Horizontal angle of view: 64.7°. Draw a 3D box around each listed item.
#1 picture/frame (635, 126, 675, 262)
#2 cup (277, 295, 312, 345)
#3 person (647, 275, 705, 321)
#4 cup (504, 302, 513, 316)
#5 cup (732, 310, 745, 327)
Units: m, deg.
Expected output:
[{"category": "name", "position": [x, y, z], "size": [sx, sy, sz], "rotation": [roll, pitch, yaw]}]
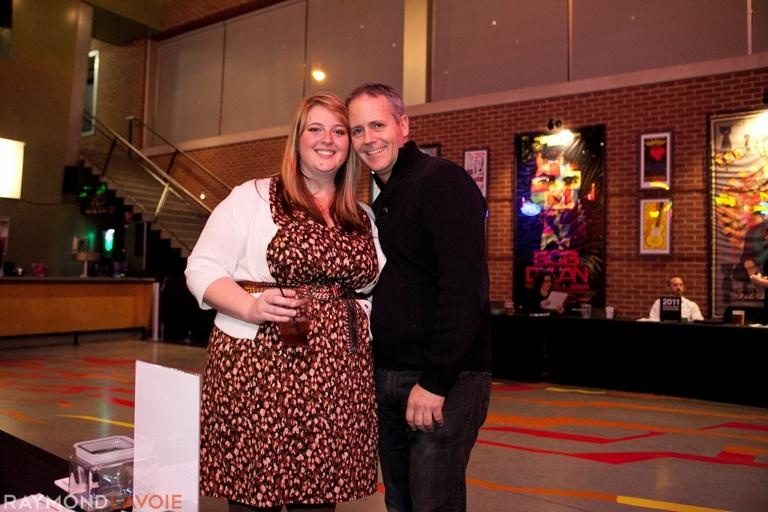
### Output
[{"category": "picture/frame", "position": [3.989, -0.903, 8.892], "size": [0.465, 1.780, 0.243], "rotation": [3, 5, 22]}, {"category": "cup", "position": [-0.482, 0.388, 3.606], "size": [0.238, 0.255, 0.238], "rotation": [0, 3, 0]}, {"category": "person", "position": [4.050, 0.681, 8.376], "size": [0.733, 0.680, 0.392], "rotation": [1, -2, 11]}, {"category": "cup", "position": [1.838, 0.778, 8.867], "size": [0.159, 0.161, 0.159], "rotation": [1, -8, 0]}, {"category": "cup", "position": [4.350, 0.776, 7.422], "size": [0.197, 0.195, 0.190], "rotation": [1, -2, 0]}]
